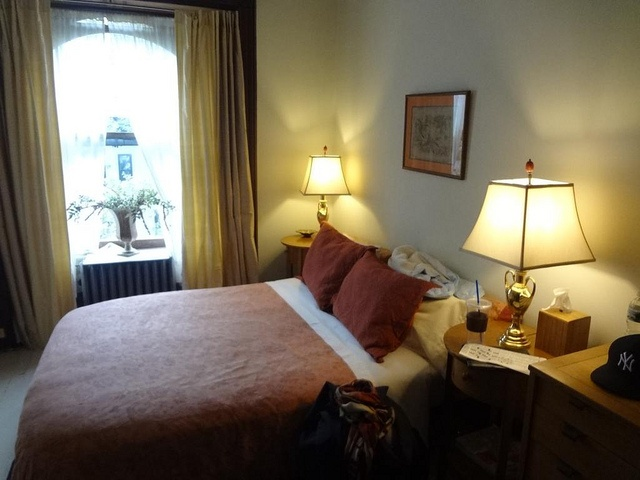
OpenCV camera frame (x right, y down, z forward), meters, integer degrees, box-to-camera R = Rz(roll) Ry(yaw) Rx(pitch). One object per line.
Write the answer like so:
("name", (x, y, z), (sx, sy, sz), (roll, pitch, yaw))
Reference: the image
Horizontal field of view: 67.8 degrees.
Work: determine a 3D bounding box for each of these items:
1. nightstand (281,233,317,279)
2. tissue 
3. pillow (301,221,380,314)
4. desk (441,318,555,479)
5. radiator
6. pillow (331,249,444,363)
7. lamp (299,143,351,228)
("nightstand", (-0.141, 0.122, 4.256), (0.331, 0.387, 0.347), (-13, 25, -35))
("tissue ", (1.198, 0.434, 2.407), (0.184, 0.362, 0.226), (9, 16, 8))
("pillow", (0.077, 0.167, 3.280), (0.339, 0.507, 0.558), (1, 11, -16))
("desk", (0.817, 0.839, 2.587), (0.632, 0.729, 0.572), (-6, 16, -26))
("radiator", (-1.687, 0.349, 4.038), (0.710, 0.409, 0.499), (-1, 13, -23))
("pillow", (0.313, 0.380, 2.891), (0.318, 0.492, 0.638), (1, 15, -26))
("lamp", (0.016, -0.493, 4.186), (0.358, 0.720, 0.399), (-4, 13, -20))
